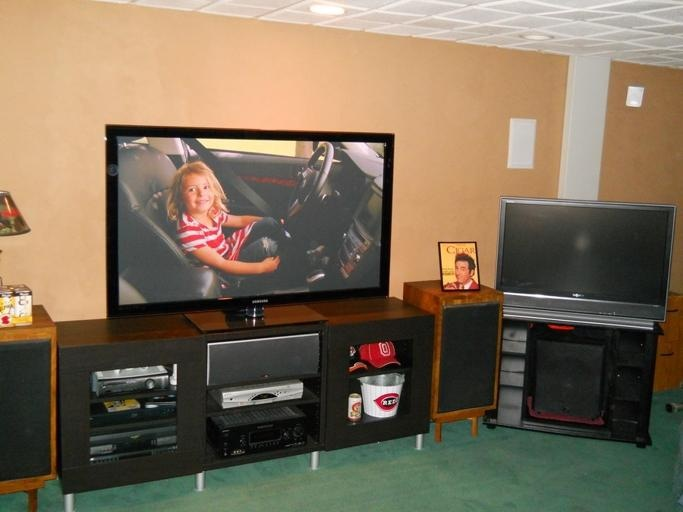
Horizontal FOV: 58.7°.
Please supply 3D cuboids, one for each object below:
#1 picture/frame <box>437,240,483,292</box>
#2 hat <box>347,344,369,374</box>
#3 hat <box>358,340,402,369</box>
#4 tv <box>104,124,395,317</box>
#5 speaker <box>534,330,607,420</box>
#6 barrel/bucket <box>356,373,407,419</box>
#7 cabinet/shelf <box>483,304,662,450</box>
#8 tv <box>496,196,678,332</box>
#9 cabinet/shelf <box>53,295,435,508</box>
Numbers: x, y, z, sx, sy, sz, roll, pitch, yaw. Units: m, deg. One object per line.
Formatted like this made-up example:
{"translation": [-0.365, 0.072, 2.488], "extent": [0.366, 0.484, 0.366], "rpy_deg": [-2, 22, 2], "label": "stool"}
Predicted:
{"translation": [0.805, 0.072, 4.190], "extent": [0.380, 0.435, 0.036], "rpy_deg": [-1, -4, -5], "label": "picture/frame"}
{"translation": [0.091, 0.661, 3.891], "extent": [0.121, 0.057, 0.180], "rpy_deg": [-3, 13, -13], "label": "hat"}
{"translation": [0.247, 0.636, 3.974], "extent": [0.175, 0.122, 0.239], "rpy_deg": [-1, 0, -27], "label": "hat"}
{"translation": [-0.615, -0.224, 3.655], "extent": [1.329, 0.762, 0.029], "rpy_deg": [-2, 10, -19], "label": "tv"}
{"translation": [1.641, 0.833, 4.392], "extent": [0.548, 0.536, 0.183], "rpy_deg": [4, 4, 13], "label": "speaker"}
{"translation": [0.298, 0.922, 3.980], "extent": [0.308, 0.219, 0.286], "rpy_deg": [2, 6, 0], "label": "barrel/bucket"}
{"translation": [1.609, 0.854, 4.251], "extent": [1.031, 0.835, 0.402], "rpy_deg": [2, 2, 14], "label": "cabinet/shelf"}
{"translation": [1.713, 0.061, 4.294], "extent": [1.003, 0.719, 0.131], "rpy_deg": [2, 4, 9], "label": "tv"}
{"translation": [-0.559, 0.828, 3.681], "extent": [2.127, 0.956, 0.434], "rpy_deg": [-3, 15, -22], "label": "cabinet/shelf"}
